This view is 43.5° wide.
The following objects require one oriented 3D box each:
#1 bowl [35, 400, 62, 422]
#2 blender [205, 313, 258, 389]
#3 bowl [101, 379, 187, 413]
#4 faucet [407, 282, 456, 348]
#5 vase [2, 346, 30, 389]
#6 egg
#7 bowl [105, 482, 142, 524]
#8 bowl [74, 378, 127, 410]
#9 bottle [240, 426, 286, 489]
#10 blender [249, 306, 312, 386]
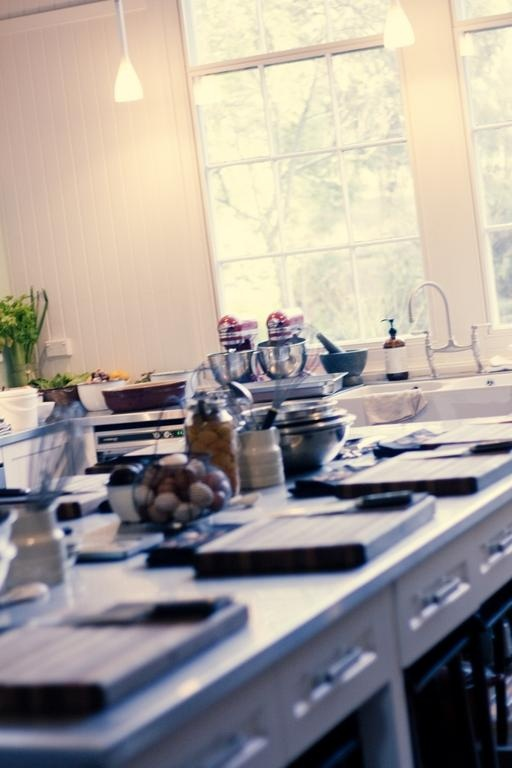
[{"bbox_3d":[-1.183,0.153,3.623,0.115,0.071,0.109,-1,-2,0],"label":"bowl"},{"bbox_3d":[-0.106,-0.152,2.803,0.253,0.282,0.214,-7,6,-7],"label":"blender"},{"bbox_3d":[-0.614,0.078,3.480,0.437,0.215,0.184,5,11,-8],"label":"bowl"},{"bbox_3d":[1.052,-0.433,3.833,0.314,0.354,0.170,12,12,21],"label":"faucet"},{"bbox_3d":[-1.574,-0.116,4.172,0.238,0.281,0.096,9,12,8],"label":"vase"},{"bbox_3d":[-0.089,0.120,0.831,0.099,0.057,0.110,-10,0,-30],"label":"egg"},{"bbox_3d":[-0.191,0.167,0.922,0.066,0.052,0.074,1,-8,-2],"label":"bowl"},{"bbox_3d":[-0.933,0.061,3.748,0.222,0.128,0.223,-1,-5,0],"label":"bowl"},{"bbox_3d":[-0.005,0.143,1.287,0.109,0.102,0.106,-2,2,12],"label":"bottle"},{"bbox_3d":[0.105,-0.137,2.137,0.287,0.230,0.170,-15,23,-36],"label":"blender"}]
